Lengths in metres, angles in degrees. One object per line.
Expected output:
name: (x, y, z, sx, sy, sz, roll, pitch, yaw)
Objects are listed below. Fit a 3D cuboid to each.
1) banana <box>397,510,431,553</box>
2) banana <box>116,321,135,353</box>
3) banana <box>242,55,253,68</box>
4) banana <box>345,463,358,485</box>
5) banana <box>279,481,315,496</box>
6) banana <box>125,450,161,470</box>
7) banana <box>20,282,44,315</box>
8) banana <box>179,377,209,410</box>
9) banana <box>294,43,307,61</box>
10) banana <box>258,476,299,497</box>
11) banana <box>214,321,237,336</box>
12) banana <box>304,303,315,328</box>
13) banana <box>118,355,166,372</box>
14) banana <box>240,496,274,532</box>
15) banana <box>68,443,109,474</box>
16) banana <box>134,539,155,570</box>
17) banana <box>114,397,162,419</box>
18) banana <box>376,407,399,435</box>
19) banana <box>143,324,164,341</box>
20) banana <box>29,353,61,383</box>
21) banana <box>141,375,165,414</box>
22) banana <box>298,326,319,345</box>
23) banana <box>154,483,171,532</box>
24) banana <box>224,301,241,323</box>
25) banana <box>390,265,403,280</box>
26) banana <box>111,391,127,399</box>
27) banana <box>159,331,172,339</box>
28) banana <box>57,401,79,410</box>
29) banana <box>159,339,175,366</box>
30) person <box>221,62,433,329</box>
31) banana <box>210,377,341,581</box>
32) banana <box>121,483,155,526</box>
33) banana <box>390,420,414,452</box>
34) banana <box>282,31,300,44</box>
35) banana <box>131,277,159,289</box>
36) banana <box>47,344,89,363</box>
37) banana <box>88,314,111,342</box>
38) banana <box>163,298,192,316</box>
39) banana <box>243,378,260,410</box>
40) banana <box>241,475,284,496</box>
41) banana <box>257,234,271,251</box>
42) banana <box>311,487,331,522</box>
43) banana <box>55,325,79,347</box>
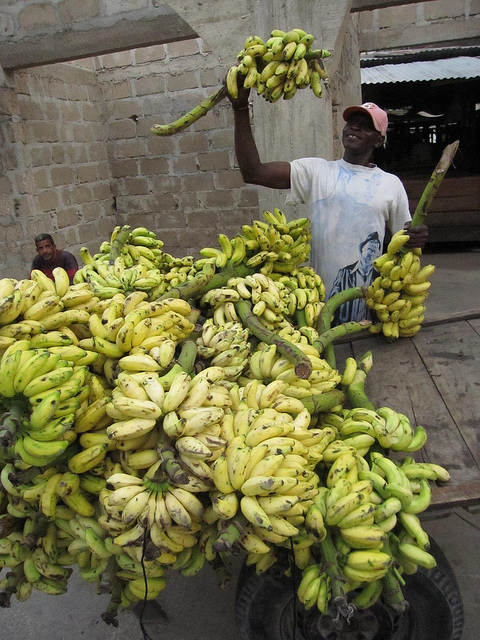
banana: (0.425, 0.530, 1.226, 0.048, 0.039, 0.140, -33, 15, 25)
banana: (-0.303, 0.048, 1.352, 0.034, 0.097, 0.065, 13, 24, -3)
banana: (0.025, -0.921, 1.799, 0.032, 0.040, 0.031, 9, -14, -4)
banana: (0.289, 0.403, 1.308, 0.020, 0.060, 0.020, 30, 5, 5)
banana: (0.136, 0.387, 1.153, 0.093, 0.030, 0.026, -4, -17, -33)
banana: (-0.229, 0.329, 1.190, 0.088, 0.040, 0.033, -14, 6, 10)
banana: (-0.582, -0.063, 1.438, 0.033, 0.034, 0.108, 5, 42, 8)
banana: (-0.112, 0.182, 1.238, 0.032, 0.033, 0.102, 23, 33, 5)
banana: (0.211, -0.940, 1.769, 0.029, 0.024, 0.079, -8, 55, 40)
banana: (0.098, 0.375, 1.173, 0.045, 0.033, 0.129, -3, -7, 14)
banana: (-0.042, 0.019, 1.665, 0.033, 0.027, 0.101, 39, 36, 13)
banana: (0.267, -0.021, 1.932, 0.043, 0.080, 0.029, -3, -6, -34)
banana: (-0.247, 0.115, 1.321, 0.129, 0.045, 0.036, 8, 62, -1)
banana: (0.035, 0.419, 1.103, 0.042, 0.033, 0.116, 13, 2, -15)
banana: (-0.372, 0.337, 1.225, 0.106, 0.055, 0.036, -37, 24, 6)
banana: (-0.222, 0.548, 1.176, 0.056, 0.083, 0.022, -23, -8, 39)
banana: (-0.239, 0.206, 1.183, 0.100, 0.036, 0.045, 11, 45, -15)
banana: (0.448, 0.302, 1.525, 0.055, 0.024, 0.092, -4, 20, 4)
banana: (-0.236, 0.031, 1.416, 0.023, 0.018, 0.069, 4, 31, 47)
banana: (-0.467, 0.117, 1.219, 0.088, 0.023, 0.028, -37, 71, 2)
banana: (-0.208, 0.173, 1.228, 0.037, 0.035, 0.103, -20, 57, -6)
banana: (0.258, 0.049, 1.872, 0.056, 0.025, 0.096, -43, 28, 7)
banana: (-0.173, 0.437, 1.144, 0.038, 0.046, 0.134, -13, 10, -3)
banana: (-0.033, -0.030, 1.734, 0.036, 0.029, 0.105, 31, 21, -39)
banana: (0.641, -0.189, 2.061, 0.046, 0.063, 0.032, 5, 29, 15)
banana: (-0.301, 0.181, 1.238, 0.026, 0.008, 0.026, 12, 1, 31)
banana: (-0.213, 0.043, 1.437, 0.030, 0.008, 0.015, 19, 49, -21)
banana: (-0.406, 0.199, 1.175, 0.013, 0.014, 0.046, 4, 1, 14)
banana: (-0.195, 0.086, 1.334, 0.035, 0.021, 0.064, 10, 38, -2)
person: (0.519, -0.406, 2.800, 1.222, 1.753, 0.569, -1, -8, -4)
banana: (0.041, 0.386, 1.228, 0.247, 0.131, 0.351, -12, -2, -9)
banana: (-0.232, 0.413, 1.124, 0.035, 0.040, 0.127, 29, 21, 11)
banana: (0.466, 0.342, 1.477, 0.028, 0.081, 0.076, 11, 25, 26)
banana: (0.185, -1.011, 1.820, 0.041, 0.049, 0.027, -2, 58, -7)
banana: (-0.319, -0.124, 1.687, 0.032, 0.035, 0.097, -2, -6, 37)
banana: (-0.443, 0.091, 1.312, 0.041, 0.036, 0.116, 27, 7, 26)
banana: (-0.388, 0.023, 1.388, 0.021, 0.065, 0.044, -35, -17, 14)
banana: (-0.191, -0.049, 1.564, 0.024, 0.041, 0.074, -14, -12, 28)
banana: (0.031, 0.202, 1.398, 0.056, 0.027, 0.100, -3, 63, -1)
banana: (0.042, 0.359, 1.100, 0.117, 0.038, 0.035, -16, 26, 33)
banana: (0.091, -0.292, 1.907, 0.026, 0.062, 0.030, -16, 64, 10)
banana: (0.200, 0.438, 1.220, 0.056, 0.015, 0.034, 48, 23, 10)
banana: (-0.492, 0.039, 1.428, 0.031, 0.036, 0.111, 32, 7, -20)
